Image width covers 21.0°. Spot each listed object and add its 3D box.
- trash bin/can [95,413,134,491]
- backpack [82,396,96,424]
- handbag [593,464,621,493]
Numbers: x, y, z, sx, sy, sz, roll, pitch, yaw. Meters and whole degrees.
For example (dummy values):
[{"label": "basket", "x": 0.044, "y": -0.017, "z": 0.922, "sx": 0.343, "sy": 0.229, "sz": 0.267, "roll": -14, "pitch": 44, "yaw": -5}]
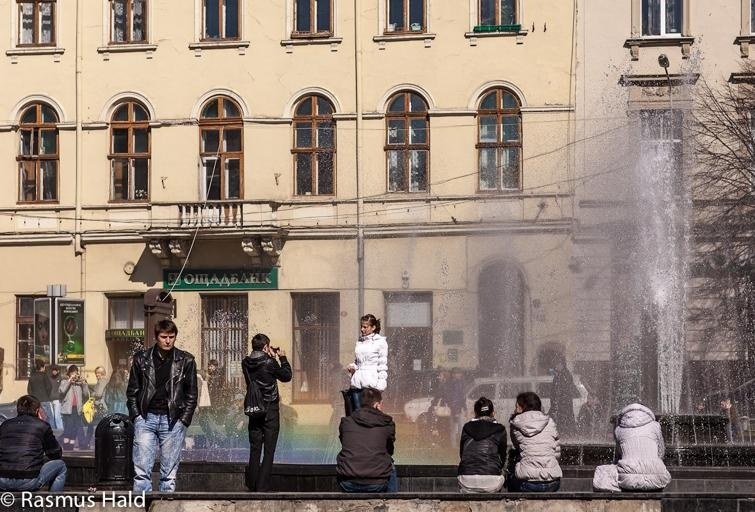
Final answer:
[{"label": "trash bin/can", "x": -6.969, "y": 4.925, "z": 53.583, "sx": 1.253, "sy": 1.817, "sz": 1.289, "roll": 3, "pitch": 0, "yaw": -26}, {"label": "backpack", "x": -8.818, "y": 4.539, "z": 62.277, "sx": 0.401, "sy": 0.759, "sz": 0.771, "roll": -1, "pitch": -5, "yaw": -8}, {"label": "handbag", "x": 5.667, "y": 5.310, "z": 50.332, "sx": 0.665, "sy": 0.592, "sz": 0.626, "roll": 1, "pitch": -1, "yaw": 19}]
